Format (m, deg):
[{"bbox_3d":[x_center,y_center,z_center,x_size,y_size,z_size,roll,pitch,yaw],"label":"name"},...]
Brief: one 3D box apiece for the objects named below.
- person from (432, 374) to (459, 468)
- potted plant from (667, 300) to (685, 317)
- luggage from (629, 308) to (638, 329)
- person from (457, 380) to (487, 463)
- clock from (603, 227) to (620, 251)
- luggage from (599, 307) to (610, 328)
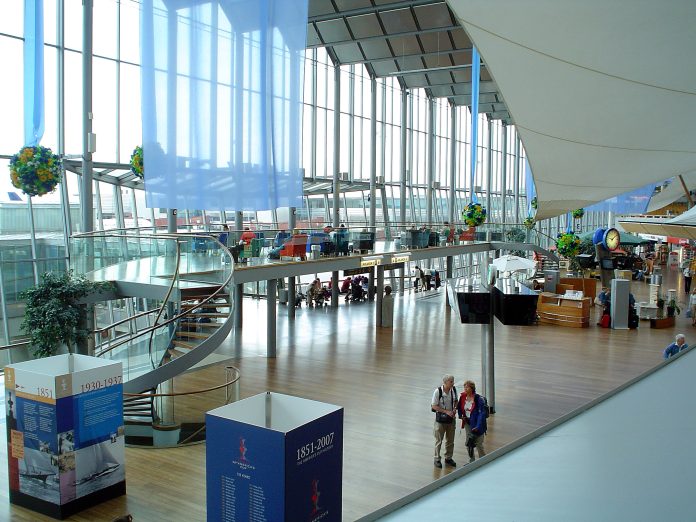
[{"bbox_3d":[1.670,2.635,9.295,0.407,1.531,0.785,1,5,11],"label":"person"},{"bbox_3d":[11.824,1.690,19.700,0.572,0.440,0.579,-3,6,-27],"label":"potted plant"},{"bbox_3d":[9.842,1.961,18.745,0.264,0.651,0.455,4,7,39],"label":"luggage"},{"bbox_3d":[2.065,2.697,9.021,0.475,1.391,0.601,0,5,-1],"label":"person"},{"bbox_3d":[10.871,-0.913,22.535,0.668,0.684,0.191,42,-13,-34],"label":"clock"},{"bbox_3d":[9.046,2.008,19.131,0.283,0.573,0.527,1,6,16],"label":"luggage"}]
